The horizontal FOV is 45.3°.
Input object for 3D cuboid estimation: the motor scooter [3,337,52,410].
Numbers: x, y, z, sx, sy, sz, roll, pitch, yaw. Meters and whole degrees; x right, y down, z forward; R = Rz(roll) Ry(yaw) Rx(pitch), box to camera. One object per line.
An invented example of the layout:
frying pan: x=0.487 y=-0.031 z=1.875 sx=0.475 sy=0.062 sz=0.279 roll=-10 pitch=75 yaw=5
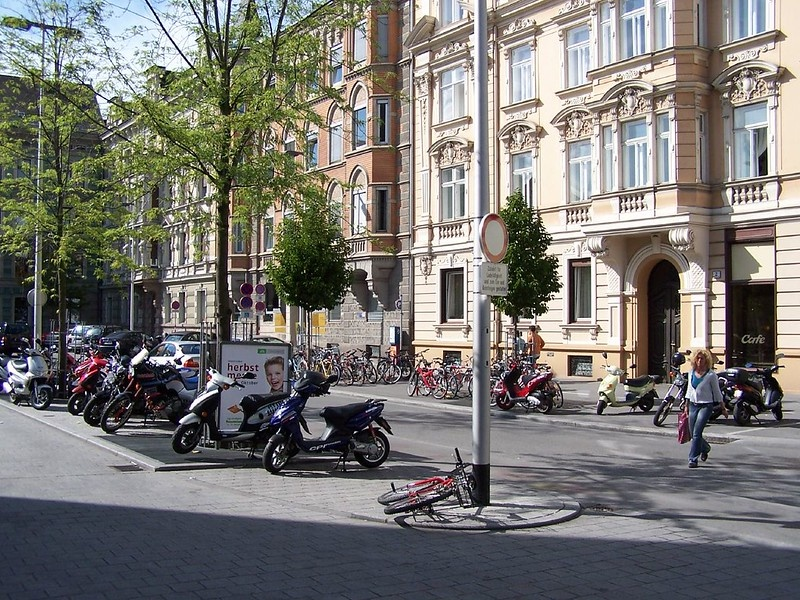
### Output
motor scooter: x=-9.505 y=1.995 z=24.499 sx=0.857 sy=1.533 sz=2.729 roll=3 pitch=-6 yaw=-31

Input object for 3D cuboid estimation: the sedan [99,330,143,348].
sedan: x=-13.569 y=1.843 z=46.111 sx=1.106 sy=0.837 sz=2.403 roll=0 pitch=3 yaw=28

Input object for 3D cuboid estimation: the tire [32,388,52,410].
tire: x=-8.847 y=2.418 z=23.588 sx=0.502 sy=0.570 sz=0.212 roll=4 pitch=3 yaw=43

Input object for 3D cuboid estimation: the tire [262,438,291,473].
tire: x=-2.080 y=2.618 z=16.179 sx=0.161 sy=0.542 sz=0.551 roll=9 pitch=5 yaw=40

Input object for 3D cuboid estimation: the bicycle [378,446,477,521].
bicycle: x=0.446 y=2.603 z=13.680 sx=1.516 sy=0.966 sz=0.734 roll=-2 pitch=28 yaw=-10

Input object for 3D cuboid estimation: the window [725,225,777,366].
window: x=9.854 y=-0.108 z=26.896 sx=0.313 sy=3.811 sz=1.422 roll=4 pitch=-6 yaw=-41

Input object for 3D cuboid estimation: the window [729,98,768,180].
window: x=9.937 y=-4.464 z=27.110 sx=0.179 sy=2.028 sz=1.040 roll=4 pitch=-6 yaw=-40

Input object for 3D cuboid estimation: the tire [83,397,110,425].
tire: x=-6.504 y=2.319 z=20.432 sx=0.227 sy=0.592 sz=0.581 roll=16 pitch=2 yaw=3

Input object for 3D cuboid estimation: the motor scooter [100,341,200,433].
motor scooter: x=-5.053 y=1.999 z=20.765 sx=1.065 sy=1.735 sz=2.976 roll=5 pitch=-2 yaw=37

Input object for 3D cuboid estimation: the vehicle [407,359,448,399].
vehicle: x=0.961 y=2.366 z=27.731 sx=0.713 sy=0.734 sz=1.163 roll=7 pitch=0 yaw=-36

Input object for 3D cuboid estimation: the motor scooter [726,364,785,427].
motor scooter: x=8.249 y=2.102 z=21.884 sx=2.188 sy=1.405 sz=0.839 roll=4 pitch=-6 yaw=-39

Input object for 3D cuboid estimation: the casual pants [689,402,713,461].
casual pants: x=5.198 y=2.276 z=16.507 sx=0.382 sy=1.016 sz=0.659 roll=-1 pitch=-5 yaw=17

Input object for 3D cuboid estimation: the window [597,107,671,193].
window: x=7.178 y=-4.419 z=29.075 sx=0.339 sy=2.286 sz=2.637 roll=0 pitch=-2 yaw=-40

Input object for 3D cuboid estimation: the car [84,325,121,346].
car: x=-15.529 y=1.907 z=48.997 sx=0.872 sy=0.824 sz=1.597 roll=-1 pitch=9 yaw=4

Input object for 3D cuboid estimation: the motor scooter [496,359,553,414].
motor scooter: x=3.134 y=2.247 z=23.994 sx=0.816 sy=1.083 sz=1.630 roll=2 pitch=-1 yaw=-37

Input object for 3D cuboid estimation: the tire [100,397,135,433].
tire: x=-5.888 y=2.344 z=19.838 sx=0.173 sy=0.694 sz=0.674 roll=2 pitch=5 yaw=14

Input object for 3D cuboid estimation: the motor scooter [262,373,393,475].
motor scooter: x=-1.277 y=2.091 z=16.574 sx=2.255 sy=1.720 sz=1.100 roll=1 pitch=-2 yaw=-22
